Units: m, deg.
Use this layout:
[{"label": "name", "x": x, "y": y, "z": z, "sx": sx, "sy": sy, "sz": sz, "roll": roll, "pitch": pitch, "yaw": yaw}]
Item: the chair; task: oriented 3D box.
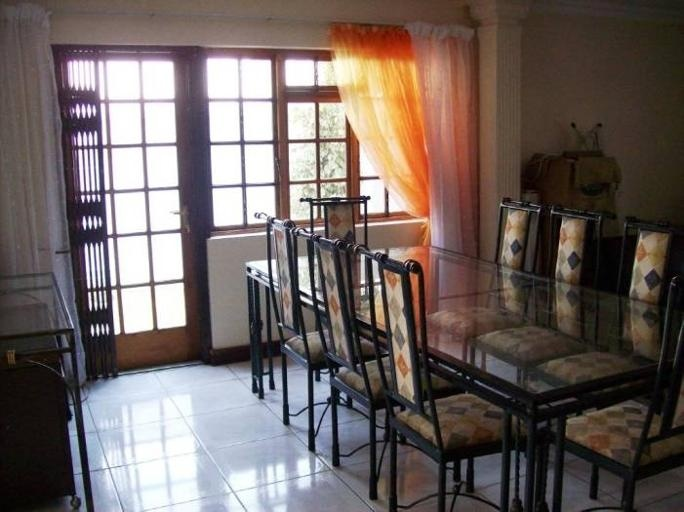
[{"label": "chair", "x": 0.599, "y": 0.559, "z": 3.195, "sx": 1.051, "sy": 0.602, "sz": 1.583, "roll": -9, "pitch": 17, "yaw": -31}]
